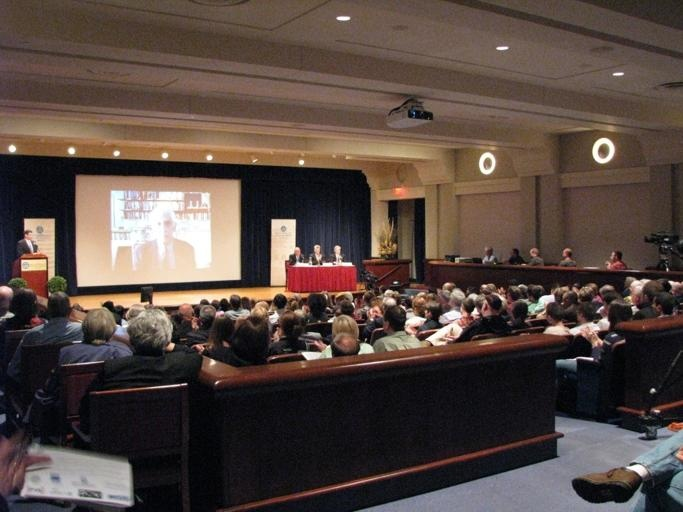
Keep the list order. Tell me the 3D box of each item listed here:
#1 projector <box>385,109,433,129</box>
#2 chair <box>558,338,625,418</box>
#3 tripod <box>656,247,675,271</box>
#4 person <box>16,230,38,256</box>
[{"bbox_3d":[1.148,-2.389,8.606,0.410,0.297,0.855,-2,1,-26],"label":"projector"},{"bbox_3d":[2.561,1.114,4.902,0.577,0.668,0.638,1,-6,-8],"label":"chair"},{"bbox_3d":[6.685,0.025,10.383,0.314,0.494,1.465,-1,1,33],"label":"tripod"},{"bbox_3d":[-7.441,-0.318,11.951,0.366,0.622,0.907,-2,1,-31],"label":"person"}]
